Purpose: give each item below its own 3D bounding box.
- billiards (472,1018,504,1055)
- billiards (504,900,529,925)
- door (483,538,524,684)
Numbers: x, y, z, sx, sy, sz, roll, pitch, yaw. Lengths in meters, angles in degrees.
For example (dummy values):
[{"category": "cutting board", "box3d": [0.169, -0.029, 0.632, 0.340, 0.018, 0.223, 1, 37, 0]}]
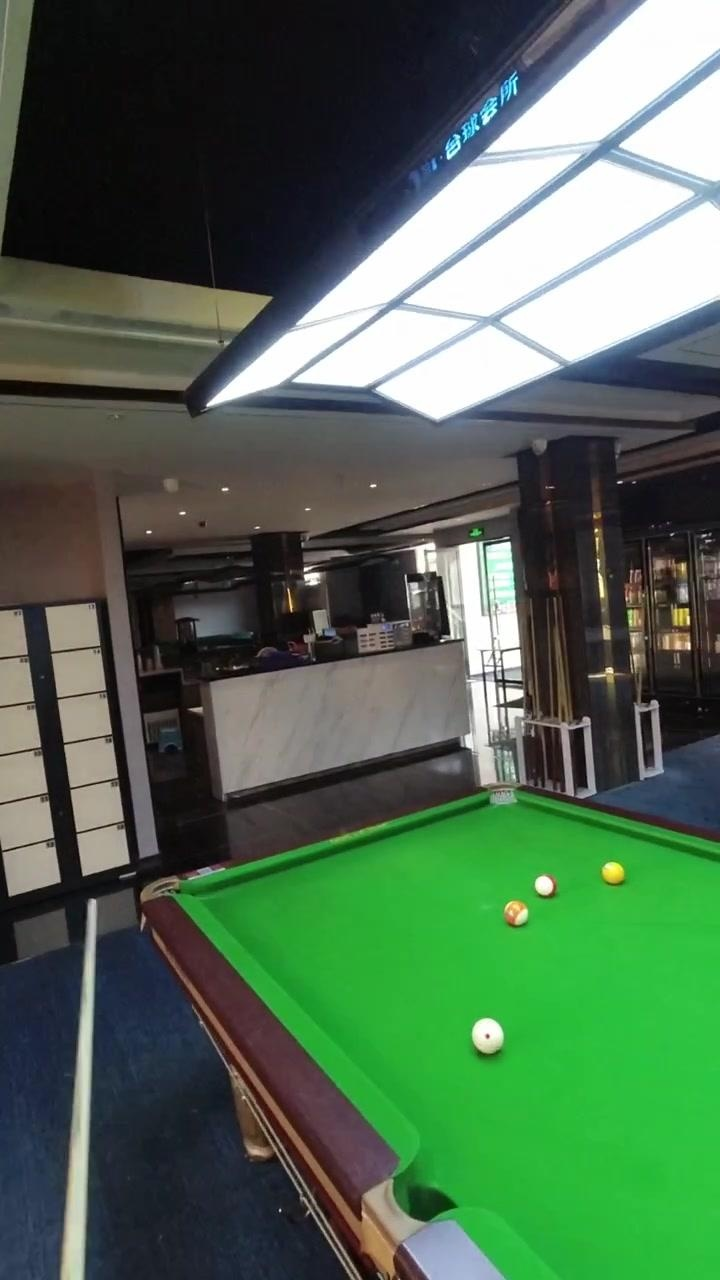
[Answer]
[{"category": "billiards", "box3d": [0.224, 0.688, 1.270, 0.061, 0.038, 0.063, -7, 3, -3]}, {"category": "billiards", "box3d": [0.362, 0.643, 1.696, 0.045, 0.058, 0.049, 4, 3, 3]}, {"category": "door", "box3d": [2.132, -0.351, 11.102, 0.422, 2.241, 1.543, -5, 3, 10]}]
